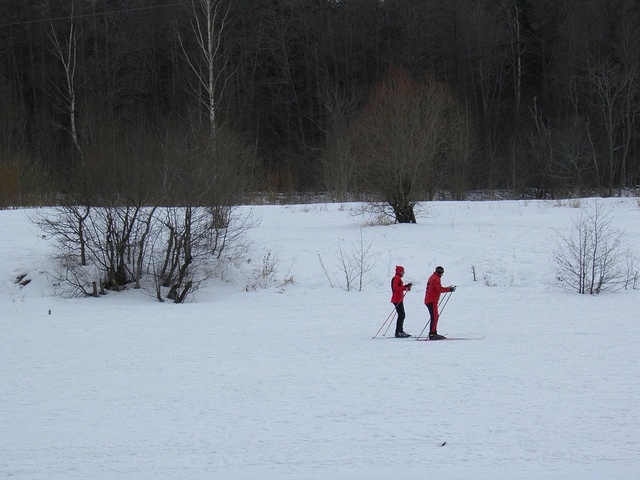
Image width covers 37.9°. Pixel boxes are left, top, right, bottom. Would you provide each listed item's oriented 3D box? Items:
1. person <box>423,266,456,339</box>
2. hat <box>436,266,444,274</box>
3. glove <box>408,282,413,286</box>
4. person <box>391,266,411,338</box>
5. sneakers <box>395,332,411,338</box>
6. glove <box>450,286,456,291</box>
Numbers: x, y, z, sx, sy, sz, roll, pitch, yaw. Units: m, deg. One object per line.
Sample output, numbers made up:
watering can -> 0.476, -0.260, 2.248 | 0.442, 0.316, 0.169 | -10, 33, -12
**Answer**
person -> 4.189, 2.188, 33.246 | 0.869, 2.513, 1.075 | 0, 5, 6
hat -> 4.286, 1.046, 33.122 | 0.275, 0.272, 0.212 | -4, 8, -1
glove -> 3.201, 1.550, 33.113 | 0.178, 0.101, 0.342 | -2, -6, -1
person -> 2.919, 2.167, 33.577 | 0.610, 2.487, 1.137 | 0, 5, 4
sneakers -> 2.957, 3.367, 33.237 | 0.554, 0.272, 0.199 | -2, 3, -2
glove -> 4.666, 1.660, 32.748 | 0.203, 0.116, 0.297 | 3, 4, 9
